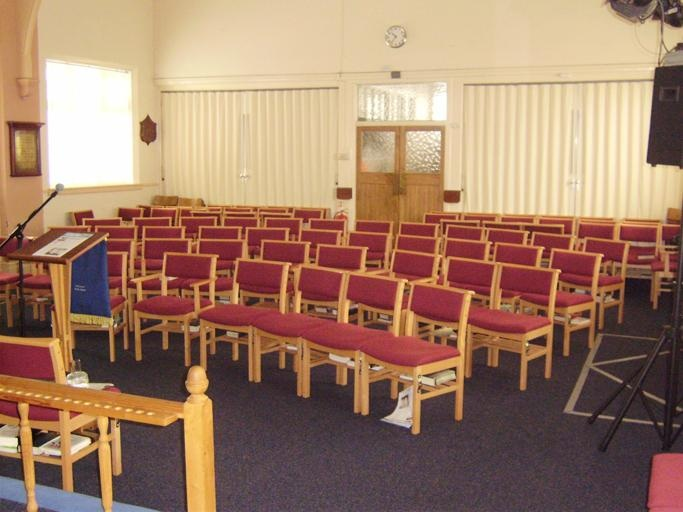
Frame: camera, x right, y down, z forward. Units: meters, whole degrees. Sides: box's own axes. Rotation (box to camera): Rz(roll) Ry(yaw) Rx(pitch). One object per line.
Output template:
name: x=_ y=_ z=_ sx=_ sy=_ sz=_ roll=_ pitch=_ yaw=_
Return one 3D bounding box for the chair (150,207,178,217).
chair: x=-3.648 y=-0.897 z=10.942 sx=0.387 sy=0.141 sz=0.108 roll=3 pitch=14 yaw=4

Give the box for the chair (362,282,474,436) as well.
chair: x=0.621 y=0.789 z=4.334 sx=0.817 sy=0.992 sz=0.941 roll=8 pitch=15 yaw=34

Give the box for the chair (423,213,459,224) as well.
chair: x=1.762 y=-0.666 z=9.465 sx=0.316 sy=0.163 sz=0.127 roll=5 pitch=11 yaw=19

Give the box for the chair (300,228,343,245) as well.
chair: x=-0.315 y=-0.278 z=7.591 sx=0.676 sy=0.333 sz=0.240 roll=2 pitch=1 yaw=21

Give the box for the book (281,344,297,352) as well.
book: x=-0.487 y=0.851 z=4.950 sx=0.181 sy=0.032 sz=0.160 roll=2 pitch=4 yaw=16

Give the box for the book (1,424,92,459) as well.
book: x=-1.788 y=1.120 z=3.195 sx=0.327 sy=0.059 sz=0.264 roll=2 pitch=-1 yaw=13

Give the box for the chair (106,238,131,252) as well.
chair: x=-2.752 y=-0.136 z=6.596 sx=0.190 sy=0.201 sz=0.213 roll=7 pitch=8 yaw=42

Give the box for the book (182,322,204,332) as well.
book: x=-1.563 y=0.741 z=5.576 sx=0.124 sy=0.043 sz=0.150 roll=2 pitch=3 yaw=13

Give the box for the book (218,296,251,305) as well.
book: x=-1.262 y=0.508 z=6.160 sx=0.266 sy=0.050 sz=0.231 roll=0 pitch=3 yaw=-27

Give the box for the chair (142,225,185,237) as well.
chair: x=-2.639 y=-0.357 z=7.926 sx=0.827 sy=0.178 sz=0.216 roll=5 pitch=12 yaw=26

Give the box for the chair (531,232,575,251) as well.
chair: x=2.812 y=-0.193 z=7.135 sx=0.404 sy=0.246 sz=0.146 roll=2 pitch=0 yaw=39

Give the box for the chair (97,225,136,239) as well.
chair: x=-2.942 y=-0.312 z=6.996 sx=0.428 sy=0.215 sz=0.145 roll=0 pitch=2 yaw=-12

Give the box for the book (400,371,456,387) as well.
book: x=0.667 y=0.950 z=4.136 sx=0.241 sy=0.044 sz=0.242 roll=0 pitch=0 yaw=41

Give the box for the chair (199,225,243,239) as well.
chair: x=-1.791 y=-0.347 z=7.855 sx=0.577 sy=0.148 sz=0.248 roll=-1 pitch=11 yaw=-7

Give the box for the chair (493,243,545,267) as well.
chair: x=2.057 y=-0.016 z=6.243 sx=0.380 sy=0.190 sz=0.135 roll=4 pitch=6 yaw=40

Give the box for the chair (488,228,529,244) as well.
chair: x=2.290 y=-0.279 z=7.426 sx=0.491 sy=0.275 sz=0.271 roll=11 pitch=24 yaw=36

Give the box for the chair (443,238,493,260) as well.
chair: x=1.553 y=-0.090 z=6.645 sx=0.299 sy=0.220 sz=0.703 roll=-8 pitch=13 yaw=-34

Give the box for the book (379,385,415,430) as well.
book: x=0.427 y=1.180 z=4.165 sx=0.231 sy=0.208 sz=0.358 roll=1 pitch=11 yaw=4

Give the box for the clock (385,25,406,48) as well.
clock: x=1.137 y=-4.612 z=11.240 sx=0.468 sy=0.481 sz=0.129 roll=1 pitch=14 yaw=6

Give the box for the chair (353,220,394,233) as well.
chair: x=0.504 y=-0.481 z=8.655 sx=0.525 sy=0.255 sz=0.195 roll=2 pitch=4 yaw=14
